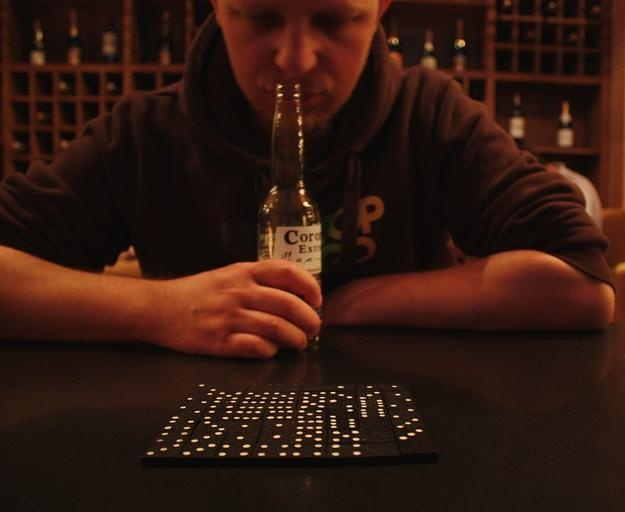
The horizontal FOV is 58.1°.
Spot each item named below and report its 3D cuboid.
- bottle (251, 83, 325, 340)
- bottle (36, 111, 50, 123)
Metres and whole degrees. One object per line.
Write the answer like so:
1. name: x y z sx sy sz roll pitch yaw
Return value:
1. bottle: -0.035 -0.068 0.864 0.095 0.394 0.138 0 10 -1
2. bottle: -1.376 -0.703 2.877 0.056 0.063 0.060 -1 -29 -2
